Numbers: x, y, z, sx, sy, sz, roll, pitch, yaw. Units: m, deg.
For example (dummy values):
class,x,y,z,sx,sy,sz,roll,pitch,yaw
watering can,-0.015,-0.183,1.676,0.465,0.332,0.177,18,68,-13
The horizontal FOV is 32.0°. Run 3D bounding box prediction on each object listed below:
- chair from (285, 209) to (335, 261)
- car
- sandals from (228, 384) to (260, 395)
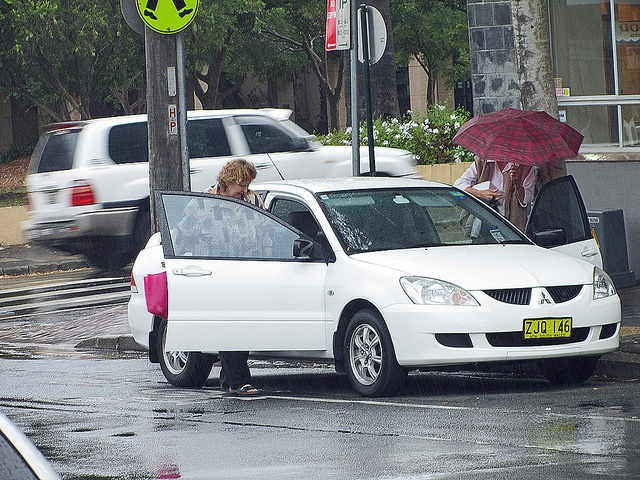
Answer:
class,x,y,z,sx,sy,sz,roll,pitch,yaw
chair,-0.063,-0.055,10.745,0.437,0.528,0.369,-1,2,-17
car,0.408,0.426,10.310,2.812,1.229,2.546,-5,-3,42
sandals,-0.709,1.380,10.497,0.263,0.118,0.113,0,5,11
